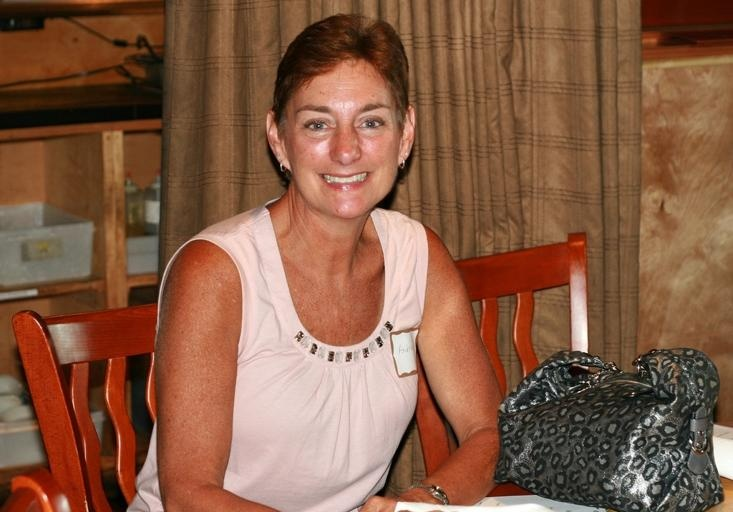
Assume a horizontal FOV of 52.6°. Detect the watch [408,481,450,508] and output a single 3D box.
[{"bbox_3d":[0.132,0.524,1.614,0.050,0.020,0.046,33,8,25],"label":"watch"}]
